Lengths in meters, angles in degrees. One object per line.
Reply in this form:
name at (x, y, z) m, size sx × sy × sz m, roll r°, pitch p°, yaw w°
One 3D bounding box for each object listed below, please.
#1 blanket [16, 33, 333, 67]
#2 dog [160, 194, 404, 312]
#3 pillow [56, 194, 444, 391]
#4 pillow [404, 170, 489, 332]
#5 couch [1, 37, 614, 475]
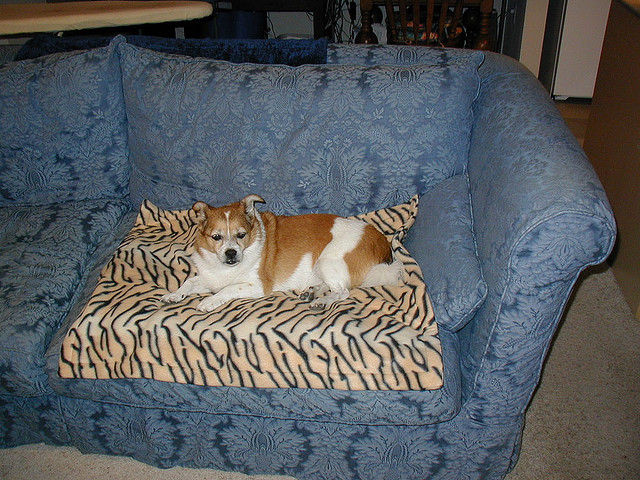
blanket at (-0.910, -1.108, 3.221) m, size 2.002 × 0.055 × 0.669 m, roll 2°, pitch 23°, yaw -1°
dog at (-0.153, 0.076, 2.803) m, size 0.925 × 0.449 × 0.608 m, roll -1°, pitch 16°, yaw 3°
pillow at (-0.295, 0.412, 2.456) m, size 1.325 × 0.286 × 1.012 m, roll 1°, pitch 66°, yaw 2°
pillow at (0.638, 0.045, 2.593) m, size 0.492 × 0.183 × 0.610 m, roll -33°, pitch 42°, yaw 41°
couch at (-0.223, 0.048, 2.740) m, size 2.943 × 1.986 × 1.547 m, roll 3°, pitch 24°, yaw 15°
